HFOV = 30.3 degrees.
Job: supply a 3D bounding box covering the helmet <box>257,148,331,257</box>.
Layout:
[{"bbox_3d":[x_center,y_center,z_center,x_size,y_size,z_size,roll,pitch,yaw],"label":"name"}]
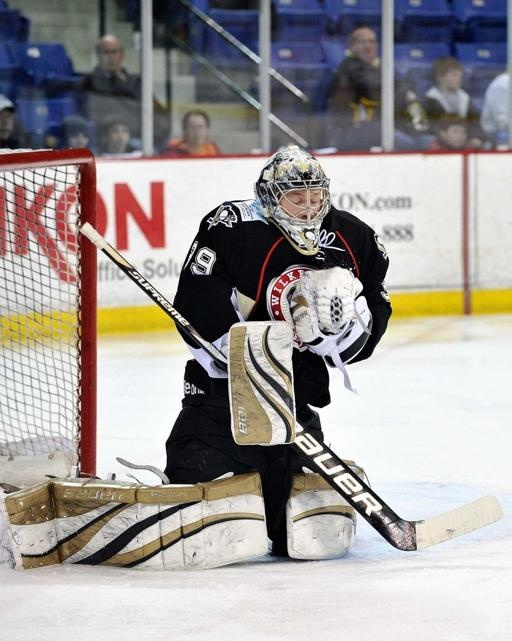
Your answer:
[{"bbox_3d":[0.087,-0.278,2.175,0.184,0.218,0.244,-9,32,-15],"label":"helmet"}]
